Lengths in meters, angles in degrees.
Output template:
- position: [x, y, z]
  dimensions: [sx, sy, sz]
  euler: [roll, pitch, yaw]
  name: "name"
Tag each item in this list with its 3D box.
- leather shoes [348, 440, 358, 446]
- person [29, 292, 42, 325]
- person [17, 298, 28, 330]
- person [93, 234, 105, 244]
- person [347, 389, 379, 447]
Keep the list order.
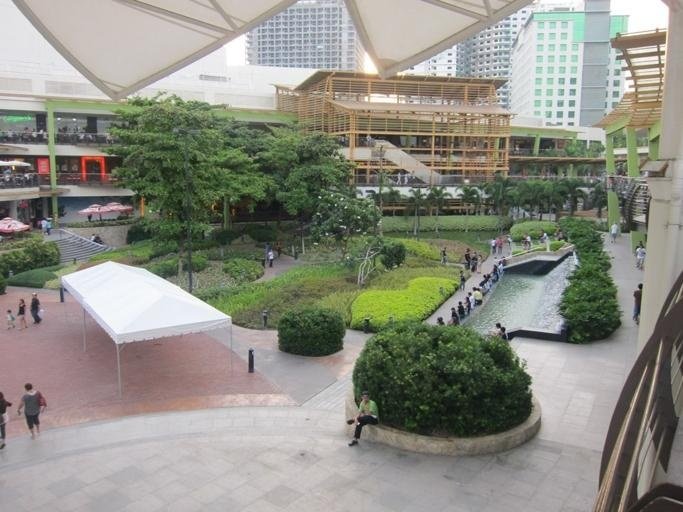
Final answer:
- position: [0.331, 5.071, 15.846]
  dimensions: [0.273, 0.114, 0.107]
  euler: [2, -4, -13]
  name: "leather shoes"
- position: [-13.932, 2.388, 26.708]
  dimensions: [0.362, 1.465, 1.064]
  euler: [-8, 14, -30]
  name: "person"
- position: [-14.398, 2.514, 26.373]
  dimensions: [0.323, 1.388, 1.394]
  euler: [-8, 14, -29]
  name: "person"
- position: [-18.596, -1.253, 44.739]
  dimensions: [0.230, 0.307, 0.727]
  euler: [-6, -29, 8]
  name: "person"
- position: [0.608, 4.395, 16.002]
  dimensions: [0.862, 1.353, 0.657]
  euler: [-2, 12, -4]
  name: "person"
